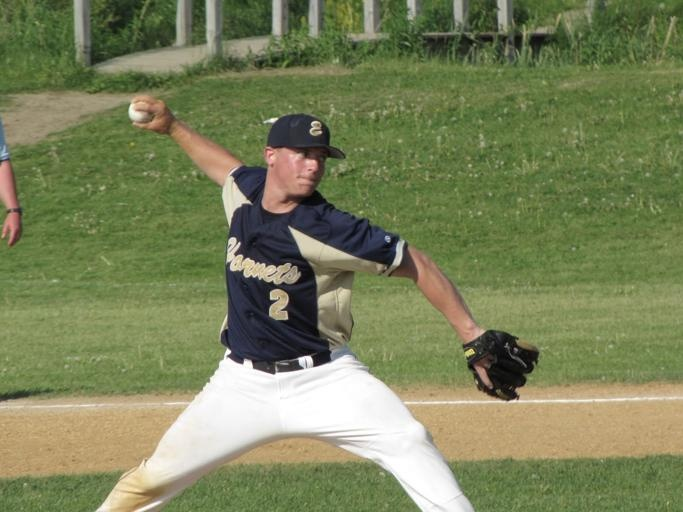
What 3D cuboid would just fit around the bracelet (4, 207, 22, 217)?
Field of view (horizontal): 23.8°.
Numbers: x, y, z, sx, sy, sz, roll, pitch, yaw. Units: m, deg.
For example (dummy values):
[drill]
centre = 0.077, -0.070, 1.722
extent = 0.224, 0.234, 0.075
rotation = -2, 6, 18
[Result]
[bracelet]
centre = -5.558, -0.683, 27.425
extent = 0.235, 0.130, 0.297
rotation = 0, 7, -7
